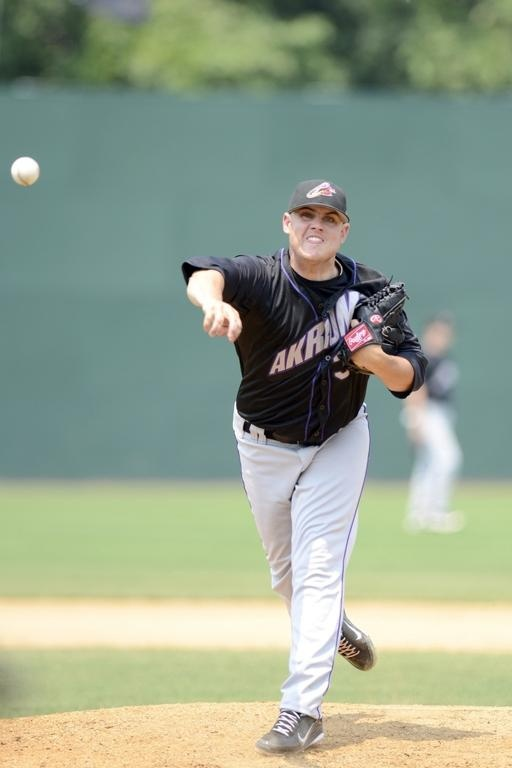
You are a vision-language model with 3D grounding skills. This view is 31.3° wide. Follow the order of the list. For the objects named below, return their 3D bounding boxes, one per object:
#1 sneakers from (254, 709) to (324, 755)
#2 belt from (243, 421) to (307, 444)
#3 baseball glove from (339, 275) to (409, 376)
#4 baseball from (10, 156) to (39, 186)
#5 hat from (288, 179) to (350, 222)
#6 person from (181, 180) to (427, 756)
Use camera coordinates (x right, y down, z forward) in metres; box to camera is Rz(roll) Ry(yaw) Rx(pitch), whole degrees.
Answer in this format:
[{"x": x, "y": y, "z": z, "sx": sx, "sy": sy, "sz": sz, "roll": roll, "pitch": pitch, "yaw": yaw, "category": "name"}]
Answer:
[{"x": 0.113, "y": 1.028, "z": 2.770, "sx": 0.090, "sy": 0.098, "sz": 0.254, "roll": 8, "pitch": 2, "yaw": 35, "category": "sneakers"}, {"x": 0.050, "y": 0.171, "z": 3.000, "sx": 0.127, "sy": 0.034, "sz": 0.090, "roll": 16, "pitch": 3, "yaw": 3, "category": "belt"}, {"x": 0.385, "y": -0.182, "z": 2.907, "sx": 0.326, "sy": 0.188, "sz": 0.095, "roll": -41, "pitch": 9, "yaw": -21, "category": "baseball glove"}, {"x": -0.936, "y": -0.851, "z": 3.686, "sx": 0.102, "sy": 0.121, "sz": 0.291, "roll": -6, "pitch": 19, "yaw": -13, "category": "baseball"}, {"x": 0.196, "y": -0.573, "z": 2.900, "sx": 0.188, "sy": 0.128, "sz": 0.157, "roll": 0, "pitch": 19, "yaw": 4, "category": "hat"}, {"x": 0.138, "y": 0.313, "z": 2.966, "sx": 0.680, "sy": 1.448, "sz": 0.969, "roll": 6, "pitch": 21, "yaw": 20, "category": "person"}]
